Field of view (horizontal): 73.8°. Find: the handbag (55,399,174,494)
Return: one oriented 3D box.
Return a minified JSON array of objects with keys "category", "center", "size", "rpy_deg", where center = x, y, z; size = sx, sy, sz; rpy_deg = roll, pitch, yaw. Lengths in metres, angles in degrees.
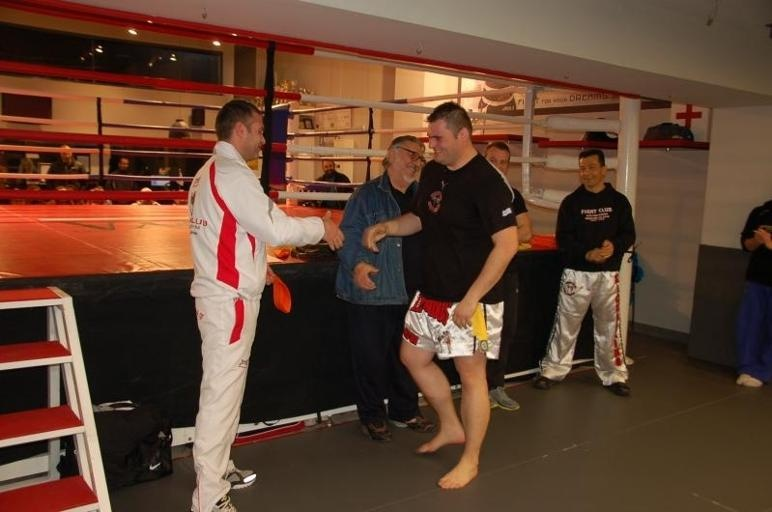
[{"category":"handbag","center":[-1.617,1.198,3.211],"size":[0.580,0.388,0.555],"rpy_deg":[1,-1,-32]}]

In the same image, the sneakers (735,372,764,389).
[{"category":"sneakers","center":[3.497,1.204,4.960],"size":[0.202,0.069,0.131],"rpy_deg":[0,9,26]}]

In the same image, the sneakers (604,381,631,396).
[{"category":"sneakers","center":[2.098,1.203,4.655],"size":[0.090,0.075,0.198],"rpy_deg":[2,-2,-22]}]

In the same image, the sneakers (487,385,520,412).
[{"category":"sneakers","center":[0.987,1.222,4.368],"size":[0.365,0.146,0.144],"rpy_deg":[8,6,39]}]

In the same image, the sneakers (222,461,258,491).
[{"category":"sneakers","center":[-0.935,1.419,3.311],"size":[0.282,0.119,0.097],"rpy_deg":[-1,-1,15]}]

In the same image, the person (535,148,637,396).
[{"category":"person","center":[1.895,0.149,4.668],"size":[0.776,2.138,0.683],"rpy_deg":[7,16,17]}]

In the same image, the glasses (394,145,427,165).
[{"category":"glasses","center":[0.185,-0.731,3.651],"size":[0.149,0.044,0.153],"rpy_deg":[37,12,36]}]

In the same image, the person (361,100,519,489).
[{"category":"person","center":[0.446,0.260,3.357],"size":[0.494,2.407,0.715],"rpy_deg":[-9,19,-34]}]

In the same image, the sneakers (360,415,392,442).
[{"category":"sneakers","center":[-0.060,1.288,3.820],"size":[0.120,0.117,0.280],"rpy_deg":[1,-4,-38]}]

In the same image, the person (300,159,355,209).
[{"category":"person","center":[-0.866,-1.034,7.869],"size":[0.780,0.865,0.646],"rpy_deg":[-6,-4,12]}]

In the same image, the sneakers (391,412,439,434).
[{"category":"sneakers","center":[0.211,1.290,3.984],"size":[0.271,0.084,0.130],"rpy_deg":[0,-1,25]}]
